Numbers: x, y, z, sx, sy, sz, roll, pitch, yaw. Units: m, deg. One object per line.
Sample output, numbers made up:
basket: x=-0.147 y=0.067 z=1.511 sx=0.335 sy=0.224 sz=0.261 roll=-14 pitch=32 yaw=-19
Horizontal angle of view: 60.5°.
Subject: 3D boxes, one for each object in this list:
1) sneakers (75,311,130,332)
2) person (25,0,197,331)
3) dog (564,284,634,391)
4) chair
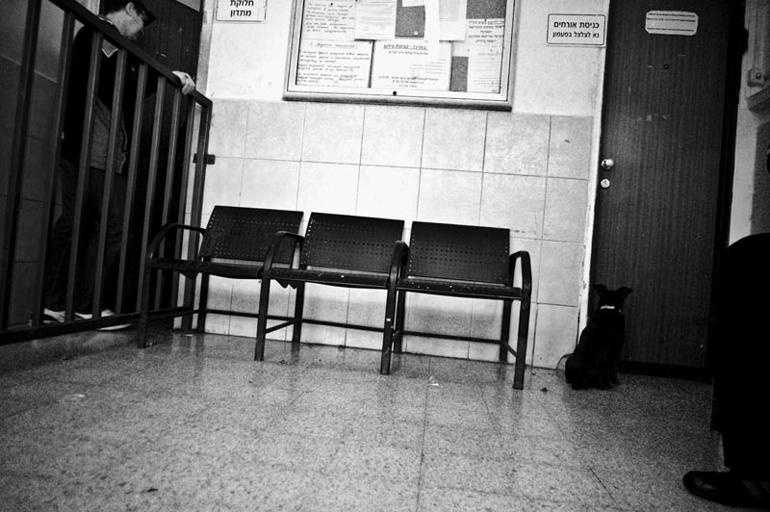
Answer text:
sneakers: x=-1.978 y=0.444 z=4.596 sx=0.215 sy=0.089 sz=0.155 roll=0 pitch=-11 yaw=-2
person: x=-2.132 y=-0.688 z=4.946 sx=0.778 sy=2.522 sz=1.449 roll=3 pitch=13 yaw=-7
dog: x=1.452 y=0.569 z=4.634 sx=0.317 sy=0.887 sz=0.461 roll=15 pitch=-5 yaw=30
chair: x=-0.287 y=0.236 z=4.895 sx=2.636 sy=1.028 sz=0.969 roll=6 pitch=13 yaw=5
